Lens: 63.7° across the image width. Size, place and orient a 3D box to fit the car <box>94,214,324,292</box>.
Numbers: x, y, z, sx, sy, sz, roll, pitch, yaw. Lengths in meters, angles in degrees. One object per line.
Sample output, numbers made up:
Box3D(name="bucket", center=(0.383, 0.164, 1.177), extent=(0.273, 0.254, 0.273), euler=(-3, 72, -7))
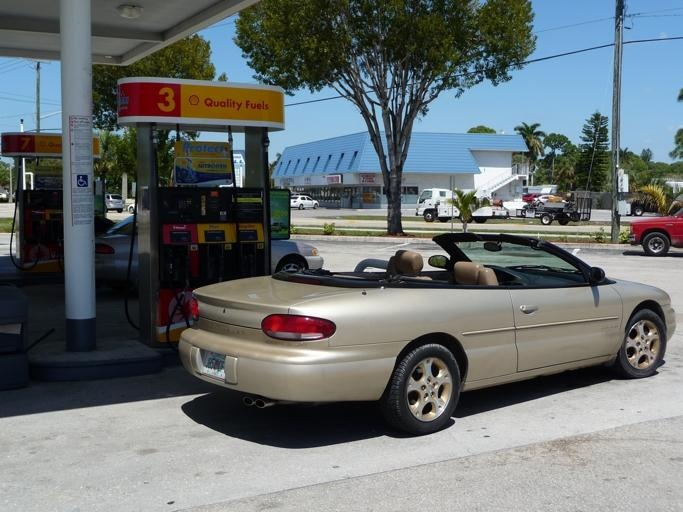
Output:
Box3D(name="car", center=(-2.999, -0.022, 12.509), extent=(4.736, 1.589, 2.032), euler=(-4, 2, -25))

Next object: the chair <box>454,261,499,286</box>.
Box3D(name="chair", center=(1.381, 0.136, 5.634), extent=(0.279, 0.182, 0.287), euler=(-2, 6, -23))

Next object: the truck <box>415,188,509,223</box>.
Box3D(name="truck", center=(11.098, -5.137, 47.123), extent=(9.199, 3.501, 4.082), euler=(2, 3, 8))

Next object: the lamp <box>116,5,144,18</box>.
Box3D(name="lamp", center=(-4.273, -4.928, 11.002), extent=(0.364, 0.305, 0.142), euler=(5, -1, -11))

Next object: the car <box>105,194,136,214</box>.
Box3D(name="car", center=(-25.292, -6.047, 61.724), extent=(2.128, 2.007, 5.011), euler=(-3, 6, -32))

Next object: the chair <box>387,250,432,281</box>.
Box3D(name="chair", center=(0.662, 0.094, 5.600), extent=(0.254, 0.340, 0.325), euler=(12, -15, 9))

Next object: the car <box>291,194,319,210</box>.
Box3D(name="car", center=(-4.898, -6.774, 68.958), extent=(3.706, 1.779, 1.164), euler=(-4, 6, -42))
